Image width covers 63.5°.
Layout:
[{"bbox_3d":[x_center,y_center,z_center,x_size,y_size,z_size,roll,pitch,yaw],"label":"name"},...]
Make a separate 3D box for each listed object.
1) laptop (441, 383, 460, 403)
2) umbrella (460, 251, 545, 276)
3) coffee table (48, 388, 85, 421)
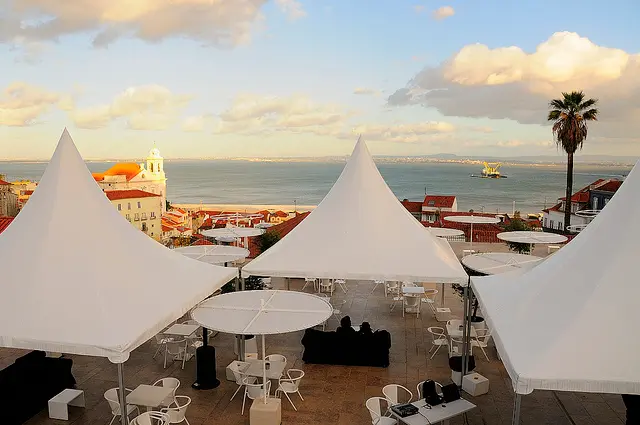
[{"bbox_3d":[3.011,4.147,11.919,0.508,0.332,0.248,-5,14,-22],"label":"laptop"},{"bbox_3d":[5.466,1.556,15.952,1.288,0.528,1.285,2,10,24],"label":"umbrella"},{"bbox_3d":[-6.543,4.858,13.232,0.570,0.428,0.882,3,8,5],"label":"coffee table"}]
